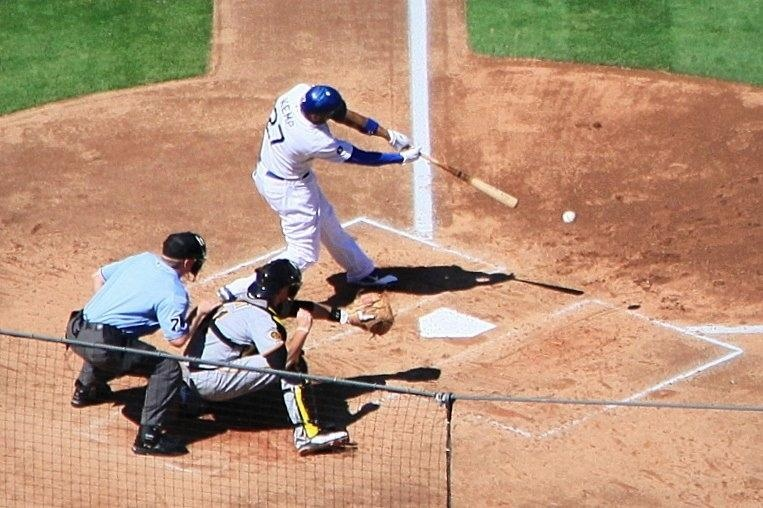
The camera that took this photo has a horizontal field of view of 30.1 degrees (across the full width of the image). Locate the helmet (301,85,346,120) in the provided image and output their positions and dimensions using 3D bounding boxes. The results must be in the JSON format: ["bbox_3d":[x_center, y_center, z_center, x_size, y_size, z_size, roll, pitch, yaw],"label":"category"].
[{"bbox_3d":[-0.858,-2.052,19.342,0.369,0.376,0.411,26,38,37],"label":"helmet"}]

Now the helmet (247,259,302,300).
[{"bbox_3d":[-1.469,0.393,18.898,0.743,0.484,0.466,-15,65,-17],"label":"helmet"}]

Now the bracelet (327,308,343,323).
[{"bbox_3d":[-0.616,0.844,19.330,0.191,0.153,0.220,-19,4,17],"label":"bracelet"}]

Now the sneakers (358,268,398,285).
[{"bbox_3d":[-0.073,0.344,20.818,0.665,0.244,0.218,-3,25,-4],"label":"sneakers"}]

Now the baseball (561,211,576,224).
[{"bbox_3d":[2.810,-0.541,21.346,0.204,0.143,0.187,4,29,6],"label":"baseball"}]
